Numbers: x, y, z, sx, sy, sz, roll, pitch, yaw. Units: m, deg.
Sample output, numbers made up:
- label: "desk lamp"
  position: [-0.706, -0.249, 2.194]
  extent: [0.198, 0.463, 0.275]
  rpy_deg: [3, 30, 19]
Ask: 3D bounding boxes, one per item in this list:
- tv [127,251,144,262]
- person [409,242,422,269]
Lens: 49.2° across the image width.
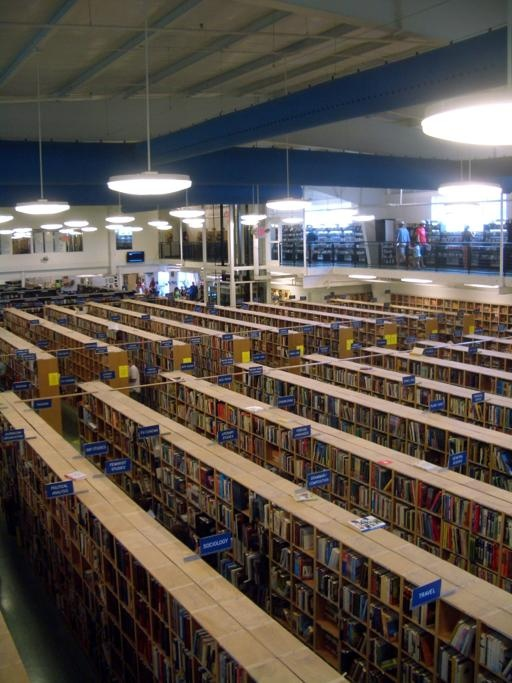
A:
- label: "tv"
  position: [-6.592, -4.583, 30.623]
  extent: [0.366, 0.623, 1.135]
  rpy_deg: [4, 9, 39]
- label: "person"
  position: [5.270, -2.815, 18.503]
  extent: [0.402, 0.812, 0.240]
  rpy_deg: [2, 8, 25]
